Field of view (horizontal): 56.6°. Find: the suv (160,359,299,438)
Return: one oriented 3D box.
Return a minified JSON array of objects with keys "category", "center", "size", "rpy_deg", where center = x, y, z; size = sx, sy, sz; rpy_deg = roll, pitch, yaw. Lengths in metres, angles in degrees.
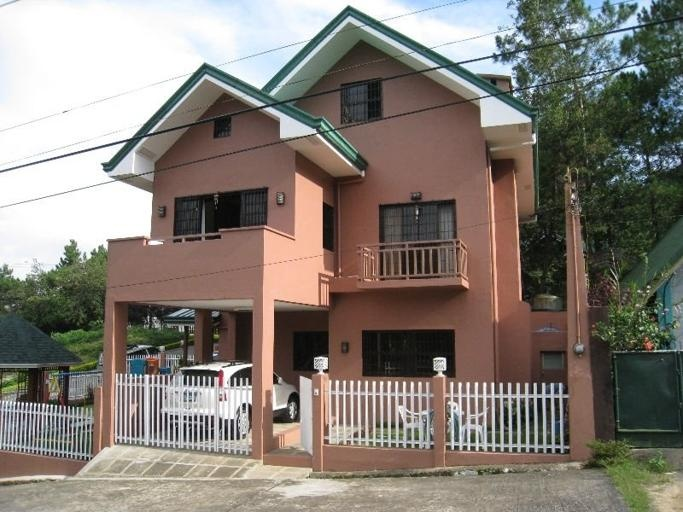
[{"category":"suv","center":[-3.221,4.324,19.716],"size":[1.852,1.837,3.829],"rpy_deg":[-4,-6,29]}]

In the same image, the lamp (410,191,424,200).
[{"category":"lamp","center":[2.601,-1.999,21.786],"size":[0.403,0.430,0.239],"rpy_deg":[2,-1,22]}]

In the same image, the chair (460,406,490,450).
[{"category":"chair","center":[3.551,4.528,16.875],"size":[0.591,0.897,0.626],"rpy_deg":[-1,-7,6]}]

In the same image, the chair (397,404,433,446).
[{"category":"chair","center":[2.168,4.724,17.760],"size":[0.800,1.090,3.344],"rpy_deg":[-3,-13,7]}]

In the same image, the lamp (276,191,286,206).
[{"category":"lamp","center":[-1.963,-1.868,20.501],"size":[0.328,0.449,0.153],"rpy_deg":[-3,-11,9]}]
